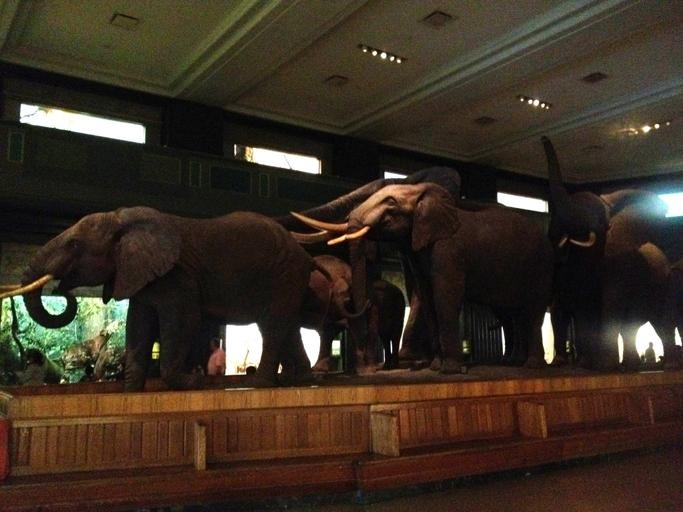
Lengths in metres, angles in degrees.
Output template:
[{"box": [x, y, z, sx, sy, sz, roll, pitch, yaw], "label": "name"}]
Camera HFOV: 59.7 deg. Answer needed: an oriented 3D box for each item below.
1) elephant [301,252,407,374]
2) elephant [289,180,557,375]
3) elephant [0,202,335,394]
[{"box": [0.162, 0.725, 5.760, 0.786, 1.114, 1.764, 7, 2, -10], "label": "elephant"}, {"box": [0.699, 0.173, 4.706, 2.031, 1.455, 0.789, 3, -7, -14], "label": "elephant"}, {"box": [-1.068, 0.287, 3.731, 1.822, 1.225, 0.638, -2, 6, -17], "label": "elephant"}]
